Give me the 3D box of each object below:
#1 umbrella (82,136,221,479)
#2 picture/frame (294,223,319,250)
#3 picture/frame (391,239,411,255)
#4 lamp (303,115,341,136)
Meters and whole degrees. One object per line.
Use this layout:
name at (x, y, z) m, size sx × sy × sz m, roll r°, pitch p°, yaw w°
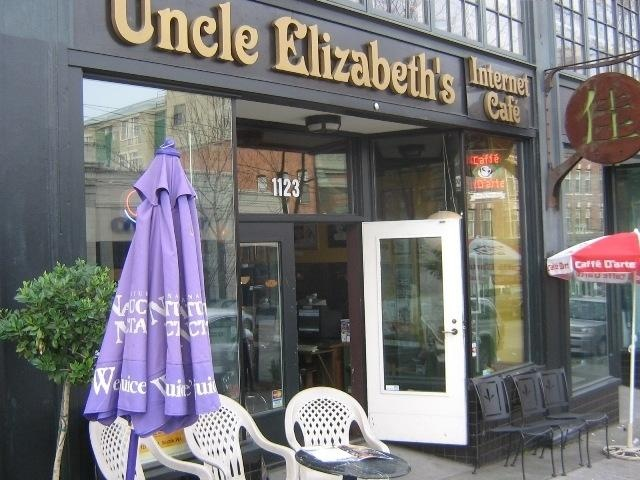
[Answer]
umbrella at (-1.140, 0.303, 4.758) m, size 0.851 × 2.076 × 0.318 m, roll -1°, pitch -4°, yaw -11°
picture/frame at (-0.199, -0.051, 10.223) m, size 0.330 × 0.335 × 0.829 m, roll -2°, pitch -5°, yaw 1°
picture/frame at (0.953, 0.074, 7.947) m, size 0.155 × 0.157 × 0.022 m, roll 2°, pitch 7°, yaw 24°
lamp at (0.037, -1.269, 7.558) m, size 0.392 × 0.132 × 0.462 m, roll -2°, pitch -5°, yaw -2°
